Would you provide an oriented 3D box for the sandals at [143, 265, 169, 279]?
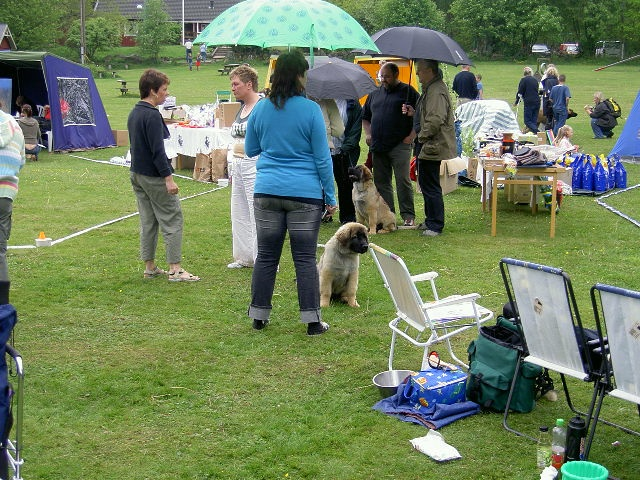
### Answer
[{"bbox_3d":[-1.937,0.364,9.406,0.308,0.124,0.118,-6,12,-41],"label":"sandals"}]

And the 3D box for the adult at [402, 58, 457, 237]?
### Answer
[{"bbox_3d":[1.531,-1.264,11.008,0.624,2.405,0.689,-5,11,-15],"label":"adult"}]

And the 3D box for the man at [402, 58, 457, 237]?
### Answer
[{"bbox_3d":[1.535,-1.263,11.000,0.621,2.405,0.670,-5,11,-16],"label":"man"}]

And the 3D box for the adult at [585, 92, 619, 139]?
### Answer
[{"bbox_3d":[7.368,-3.254,20.868,0.788,1.183,0.878,1,11,16],"label":"adult"}]

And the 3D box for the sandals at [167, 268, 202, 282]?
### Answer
[{"bbox_3d":[-1.588,0.394,9.303,0.381,0.149,0.140,-1,6,-10],"label":"sandals"}]

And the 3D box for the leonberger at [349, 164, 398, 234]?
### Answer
[{"bbox_3d":[0.730,-0.596,11.327,0.701,0.961,0.397,-5,11,-13],"label":"leonberger"}]

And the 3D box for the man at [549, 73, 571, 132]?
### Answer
[{"bbox_3d":[6.097,-3.458,20.396,0.467,1.527,1.432,1,11,15],"label":"man"}]

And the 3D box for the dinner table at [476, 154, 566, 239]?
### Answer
[{"bbox_3d":[2.804,-0.815,11.299,1.146,0.481,0.537,3,10,-24],"label":"dinner table"}]

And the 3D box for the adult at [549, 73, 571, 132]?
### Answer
[{"bbox_3d":[6.098,-3.459,20.398,0.467,1.527,1.360,1,11,15],"label":"adult"}]

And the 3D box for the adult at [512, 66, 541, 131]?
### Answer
[{"bbox_3d":[5.189,-3.525,19.909,0.510,1.529,0.969,1,11,15],"label":"adult"}]

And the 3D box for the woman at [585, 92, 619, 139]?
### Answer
[{"bbox_3d":[7.369,-3.252,20.857,0.774,1.183,0.855,1,11,17],"label":"woman"}]

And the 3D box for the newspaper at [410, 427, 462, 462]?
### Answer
[{"bbox_3d":[0.901,1.582,6.229,0.184,0.053,0.261,-10,17,-32],"label":"newspaper"}]

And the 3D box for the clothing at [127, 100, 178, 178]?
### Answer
[{"bbox_3d":[-1.887,-1.103,8.727,0.478,0.829,0.289,-2,11,2],"label":"clothing"}]
